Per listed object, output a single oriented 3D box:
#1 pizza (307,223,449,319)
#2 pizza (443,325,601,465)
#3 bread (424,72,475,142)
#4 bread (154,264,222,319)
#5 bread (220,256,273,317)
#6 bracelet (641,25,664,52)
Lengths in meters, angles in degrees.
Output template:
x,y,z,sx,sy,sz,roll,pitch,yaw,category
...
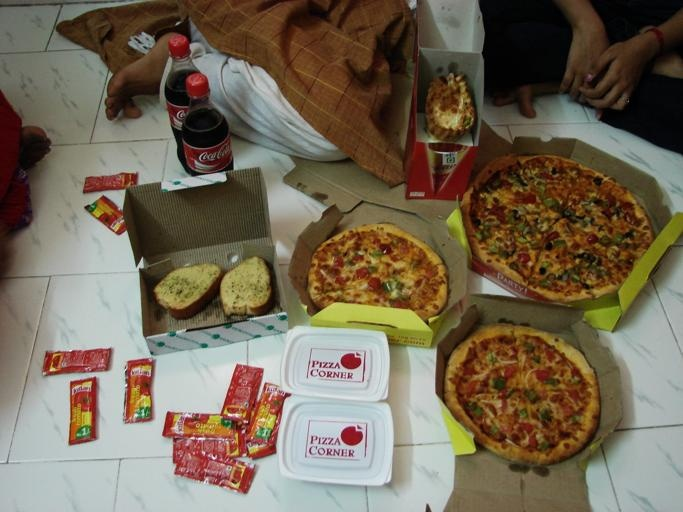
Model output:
x,y,z,sx,sy,sz,roll,pitch,yaw,category
0.134,0.037,1.916,0.491,0.059,0.379,4,65,6,pizza
0.578,0.426,1.711,0.497,0.058,0.445,21,68,14,pizza
0.427,-0.592,2.104,0.199,0.093,0.273,2,67,-8,bread
-0.532,0.114,1.891,0.207,0.063,0.157,-36,65,-18,bread
-0.337,0.106,1.893,0.174,0.046,0.223,-10,64,0,bread
1.320,-0.923,2.282,0.022,0.093,0.094,-16,64,32,bracelet
